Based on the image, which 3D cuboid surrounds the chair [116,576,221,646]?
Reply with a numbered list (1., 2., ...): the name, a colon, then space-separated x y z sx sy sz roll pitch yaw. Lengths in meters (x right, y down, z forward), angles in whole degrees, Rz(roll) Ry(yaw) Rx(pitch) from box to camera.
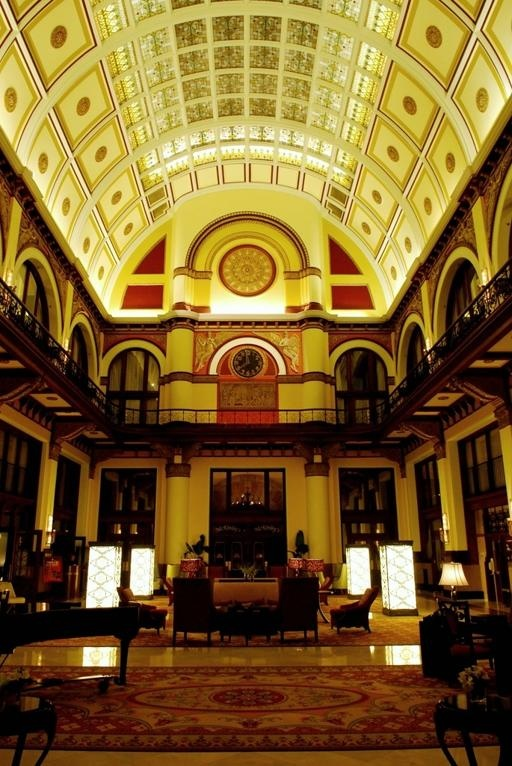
1. chair: -1.473 3.905 7.854 0.771 0.990 1.844 18 -27 -40
